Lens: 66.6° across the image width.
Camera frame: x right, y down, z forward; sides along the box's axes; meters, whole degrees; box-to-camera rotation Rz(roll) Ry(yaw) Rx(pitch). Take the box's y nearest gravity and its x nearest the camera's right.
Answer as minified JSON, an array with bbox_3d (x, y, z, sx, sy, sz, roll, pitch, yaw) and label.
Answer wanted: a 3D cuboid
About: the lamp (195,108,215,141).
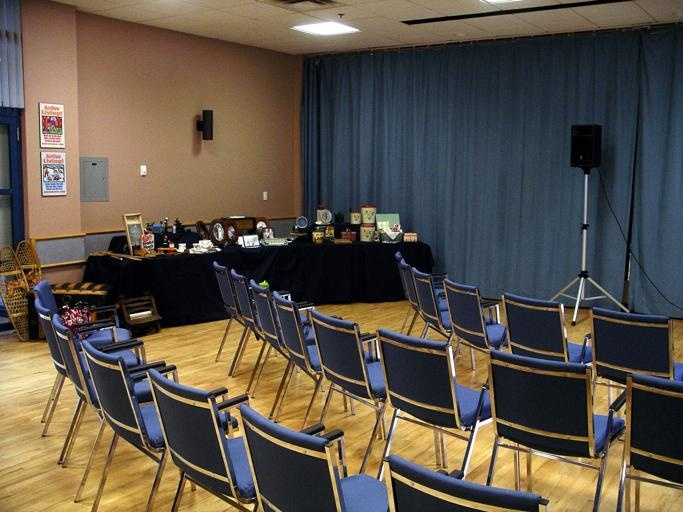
[{"bbox_3d":[-2.178,-2.121,8.285,0.223,0.466,0.241,4,13,40],"label":"lamp"}]
